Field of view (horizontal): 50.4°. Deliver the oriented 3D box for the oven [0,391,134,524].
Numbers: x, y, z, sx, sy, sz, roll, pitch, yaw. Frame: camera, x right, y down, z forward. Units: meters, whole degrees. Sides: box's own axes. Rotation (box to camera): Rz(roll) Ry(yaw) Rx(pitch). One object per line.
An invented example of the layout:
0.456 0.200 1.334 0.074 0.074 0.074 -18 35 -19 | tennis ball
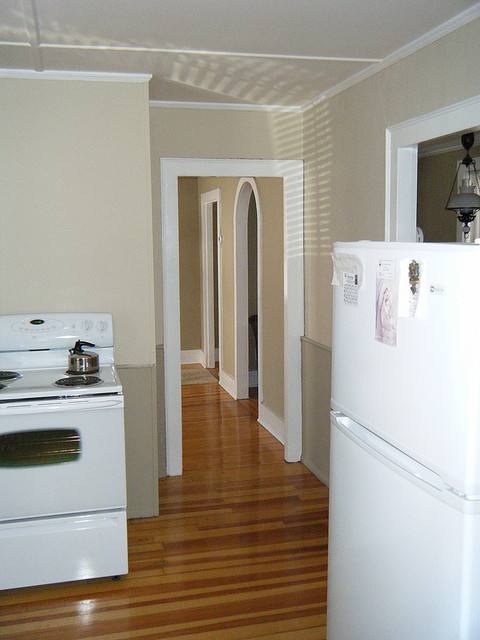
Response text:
-0.761 0.464 2.391 0.599 0.714 0.437 -1 -1 -17 | oven
